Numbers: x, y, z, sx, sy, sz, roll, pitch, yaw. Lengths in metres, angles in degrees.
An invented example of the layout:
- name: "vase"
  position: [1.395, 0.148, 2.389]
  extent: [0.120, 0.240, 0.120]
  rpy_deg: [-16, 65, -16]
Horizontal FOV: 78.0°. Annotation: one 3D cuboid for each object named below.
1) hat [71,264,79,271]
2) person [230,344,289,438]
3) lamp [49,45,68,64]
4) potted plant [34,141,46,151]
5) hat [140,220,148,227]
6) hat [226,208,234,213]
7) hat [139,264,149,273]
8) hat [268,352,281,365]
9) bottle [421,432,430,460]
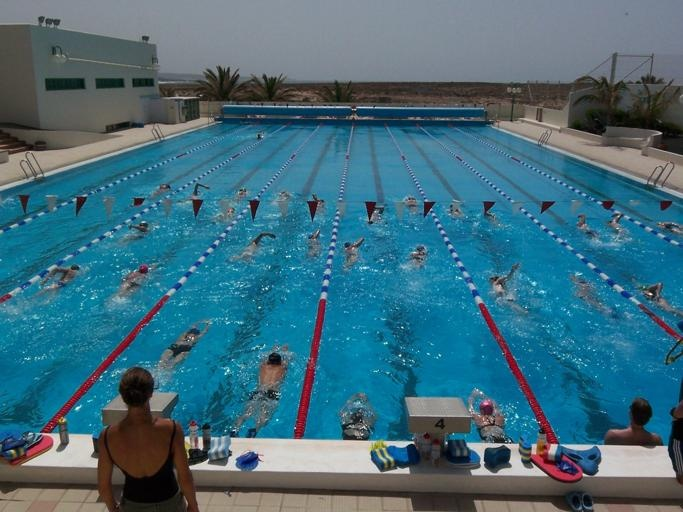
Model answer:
- name: "hat"
  position: [-3.801, 0.159, 6.026]
  extent: [0.071, 0.066, 0.110]
  rpy_deg: [-18, 17, -27]
- name: "person"
  position: [-0.700, 1.239, 3.875]
  extent: [0.241, 0.202, 0.798]
  rpy_deg: [10, 37, 16]
- name: "lamp"
  position: [-8.951, -6.434, 13.336]
  extent: [0.397, 0.535, 1.050]
  rpy_deg: [-12, 23, -29]
- name: "potted plant"
  position: [-9.073, -3.330, 12.715]
  extent: [0.238, 0.262, 0.431]
  rpy_deg: [-1, 20, -5]
- name: "hat"
  position: [-3.549, -0.586, 7.580]
  extent: [0.129, 0.093, 0.116]
  rpy_deg: [-23, -1, 32]
- name: "hat"
  position: [-2.207, -0.907, 8.396]
  extent: [0.133, 0.087, 0.123]
  rpy_deg: [-24, 14, -3]
- name: "hat"
  position: [-2.831, 0.175, 5.999]
  extent: [0.120, 0.129, 0.132]
  rpy_deg: [12, 2, 7]
- name: "hat"
  position: [-0.629, 0.991, 4.070]
  extent: [0.100, 0.109, 0.115]
  rpy_deg: [-1, 60, 5]
- name: "bottle"
  position: [0.537, 1.199, 2.656]
  extent: [0.051, 0.190, 0.036]
  rpy_deg: [2, 22, 4]
